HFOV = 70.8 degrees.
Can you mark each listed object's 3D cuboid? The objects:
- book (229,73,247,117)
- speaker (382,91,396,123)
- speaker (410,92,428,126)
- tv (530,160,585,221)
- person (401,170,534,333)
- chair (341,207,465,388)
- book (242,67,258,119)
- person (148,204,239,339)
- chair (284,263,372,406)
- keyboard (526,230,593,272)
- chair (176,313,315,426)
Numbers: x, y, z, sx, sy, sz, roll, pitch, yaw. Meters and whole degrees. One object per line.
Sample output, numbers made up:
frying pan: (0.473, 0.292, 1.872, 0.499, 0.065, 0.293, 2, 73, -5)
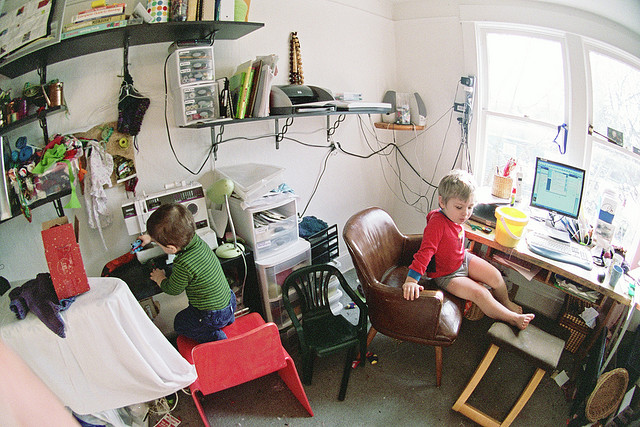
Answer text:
book: (-0.591, -0.861, 3.252, 0.062, 0.262, 0.253, -2, 10, -18)
speaker: (0.665, -1.013, 4.285, 0.142, 0.283, 0.124, 13, 24, 38)
speaker: (0.942, -0.992, 4.242, 0.133, 0.239, 0.241, -8, 24, -14)
tv: (1.853, -0.183, 3.478, 0.035, 0.437, 0.411, -13, 18, -36)
person: (1.012, 0.242, 3.131, 0.893, 1.020, 0.492, 0, 18, 4)
chair: (0.709, 0.596, 3.493, 0.955, 1.069, 0.940, 19, 33, 39)
book: (-0.499, -0.878, 3.228, 0.037, 0.258, 0.335, 16, 61, 2)
person: (-0.868, 0.422, 3.137, 0.676, 0.939, 0.452, 23, 30, 30)
chair: (0.038, 0.845, 3.337, 0.532, 0.769, 0.566, -15, 19, -22)
keyboard: (1.750, 0.281, 3.301, 0.442, 0.117, 0.240, 9, 21, 29)
chair: (-0.521, 1.061, 3.004, 0.410, 0.614, 0.454, -18, 57, -15)
